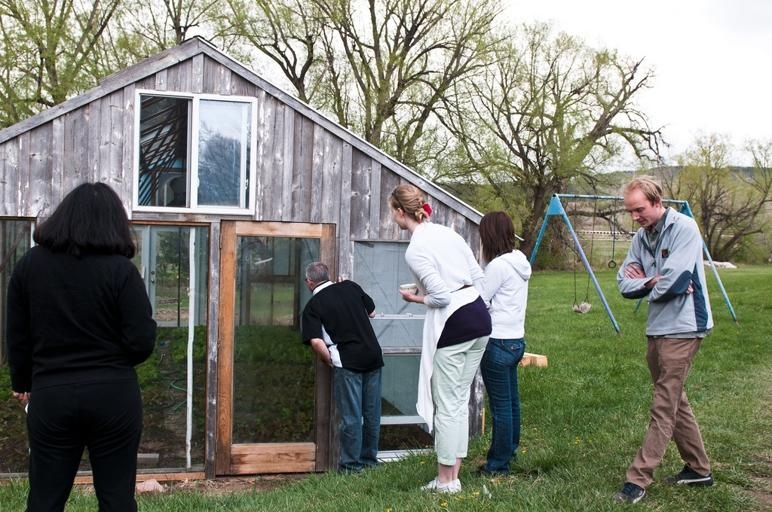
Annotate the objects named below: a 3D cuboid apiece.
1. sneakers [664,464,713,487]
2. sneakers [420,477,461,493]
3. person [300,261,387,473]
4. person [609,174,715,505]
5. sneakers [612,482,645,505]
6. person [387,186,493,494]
[{"bbox_3d":[3.361,2.474,8.643,0.576,0.277,0.203,4,-11,6],"label":"sneakers"},{"bbox_3d":[0.599,2.566,8.619,0.458,0.188,0.170,0,-11,15],"label":"sneakers"},{"bbox_3d":[-0.540,1.413,9.825,0.975,2.634,0.325,-1,-2,-2],"label":"person"},{"bbox_3d":[3.044,0.882,8.484,1.034,3.502,0.515,-1,-2,-1],"label":"person"},{"bbox_3d":[2.642,2.540,8.260,0.419,0.194,0.172,0,-3,-26],"label":"sneakers"},{"bbox_3d":[0.631,0.923,8.519,1.025,3.419,0.448,-1,-2,9],"label":"person"}]
